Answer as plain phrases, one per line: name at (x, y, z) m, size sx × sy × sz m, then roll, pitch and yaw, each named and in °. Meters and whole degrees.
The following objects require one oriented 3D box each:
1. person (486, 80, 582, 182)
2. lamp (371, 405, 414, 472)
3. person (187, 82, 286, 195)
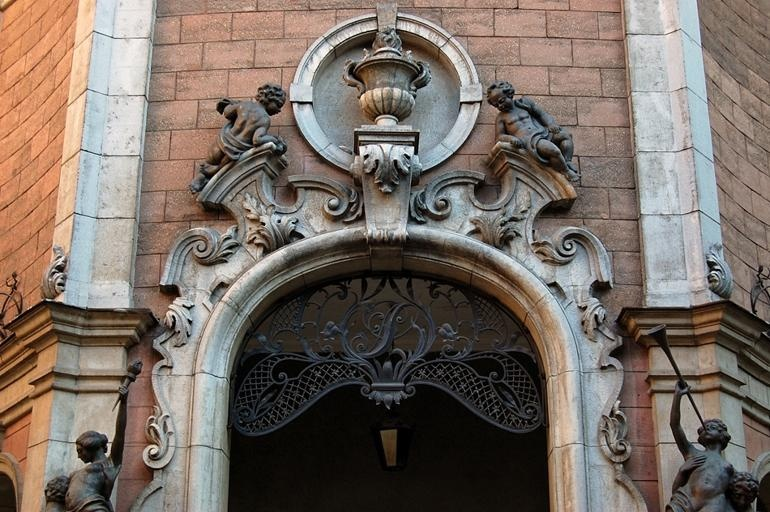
person at (1.940, -1.601, 21.455) m, size 0.710 × 1.304 × 0.836 m, roll -40°, pitch 12°, yaw -11°
lamp at (0.095, 2.407, 21.643) m, size 0.551 × 0.777 × 0.742 m, roll -2°, pitch -23°, yaw -5°
person at (-1.969, -1.498, 21.421) m, size 0.894 × 1.321 × 0.893 m, roll 34°, pitch 10°, yaw 29°
